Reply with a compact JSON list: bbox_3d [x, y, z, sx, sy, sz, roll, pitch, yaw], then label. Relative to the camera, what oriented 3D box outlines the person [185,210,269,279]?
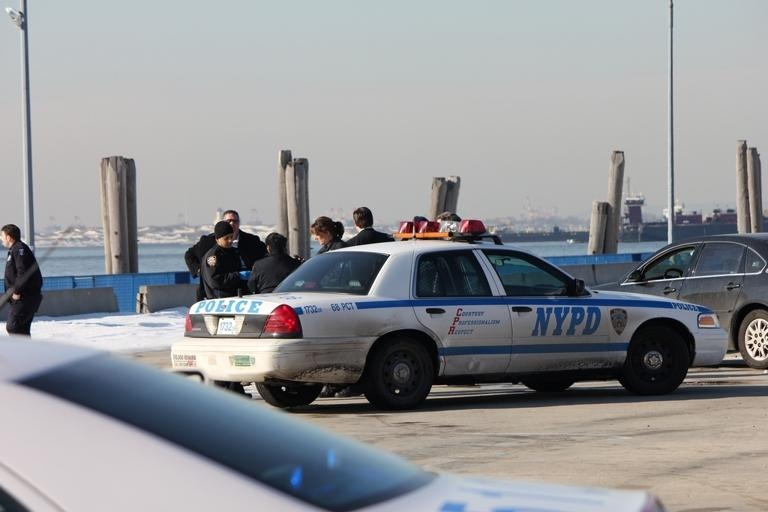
[{"bbox_3d":[-1.639,-0.034,13.350,0.823,0.957,0.342,-3,-3,-17],"label":"person"}]

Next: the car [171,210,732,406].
[{"bbox_3d":[0.707,0.593,13.052,4.929,1.467,2.223,-1,0,-28],"label":"car"}]

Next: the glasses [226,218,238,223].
[{"bbox_3d":[-1.682,-0.389,13.953,0.077,0.020,0.073,1,-17,-4],"label":"glasses"}]
